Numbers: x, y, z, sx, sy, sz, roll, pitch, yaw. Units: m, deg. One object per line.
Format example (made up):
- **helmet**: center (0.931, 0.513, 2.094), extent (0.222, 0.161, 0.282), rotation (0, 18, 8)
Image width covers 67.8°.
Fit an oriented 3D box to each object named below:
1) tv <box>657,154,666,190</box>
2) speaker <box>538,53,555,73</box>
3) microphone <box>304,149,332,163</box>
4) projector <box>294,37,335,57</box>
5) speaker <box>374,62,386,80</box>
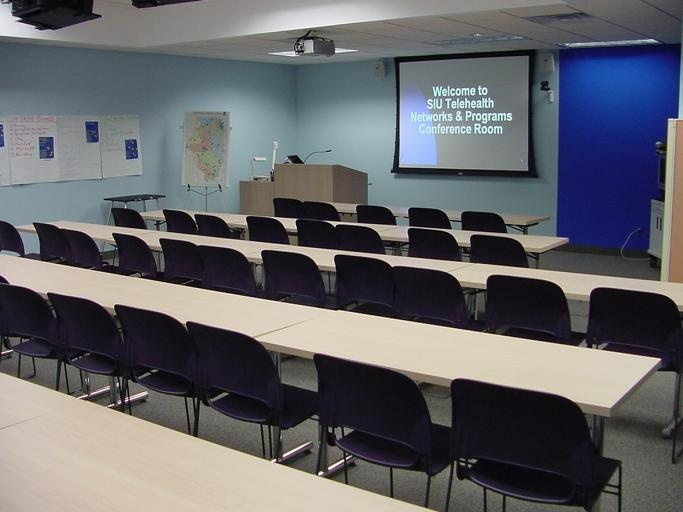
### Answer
- **tv**: center (4.607, -1.211, 7.321), extent (0.080, 0.514, 0.363), rotation (5, 11, 30)
- **speaker**: center (3.564, -3.390, 8.877), extent (0.273, 0.394, 0.326), rotation (3, 7, 40)
- **microphone**: center (-0.599, -2.319, 11.696), extent (0.278, 0.275, 0.871), rotation (-10, 14, -44)
- **projector**: center (-0.397, -3.084, 7.370), extent (0.586, 0.313, 0.425), rotation (-6, 11, -29)
- **speaker**: center (0.802, -3.883, 10.564), extent (0.209, 0.348, 0.126), rotation (0, 10, 5)
